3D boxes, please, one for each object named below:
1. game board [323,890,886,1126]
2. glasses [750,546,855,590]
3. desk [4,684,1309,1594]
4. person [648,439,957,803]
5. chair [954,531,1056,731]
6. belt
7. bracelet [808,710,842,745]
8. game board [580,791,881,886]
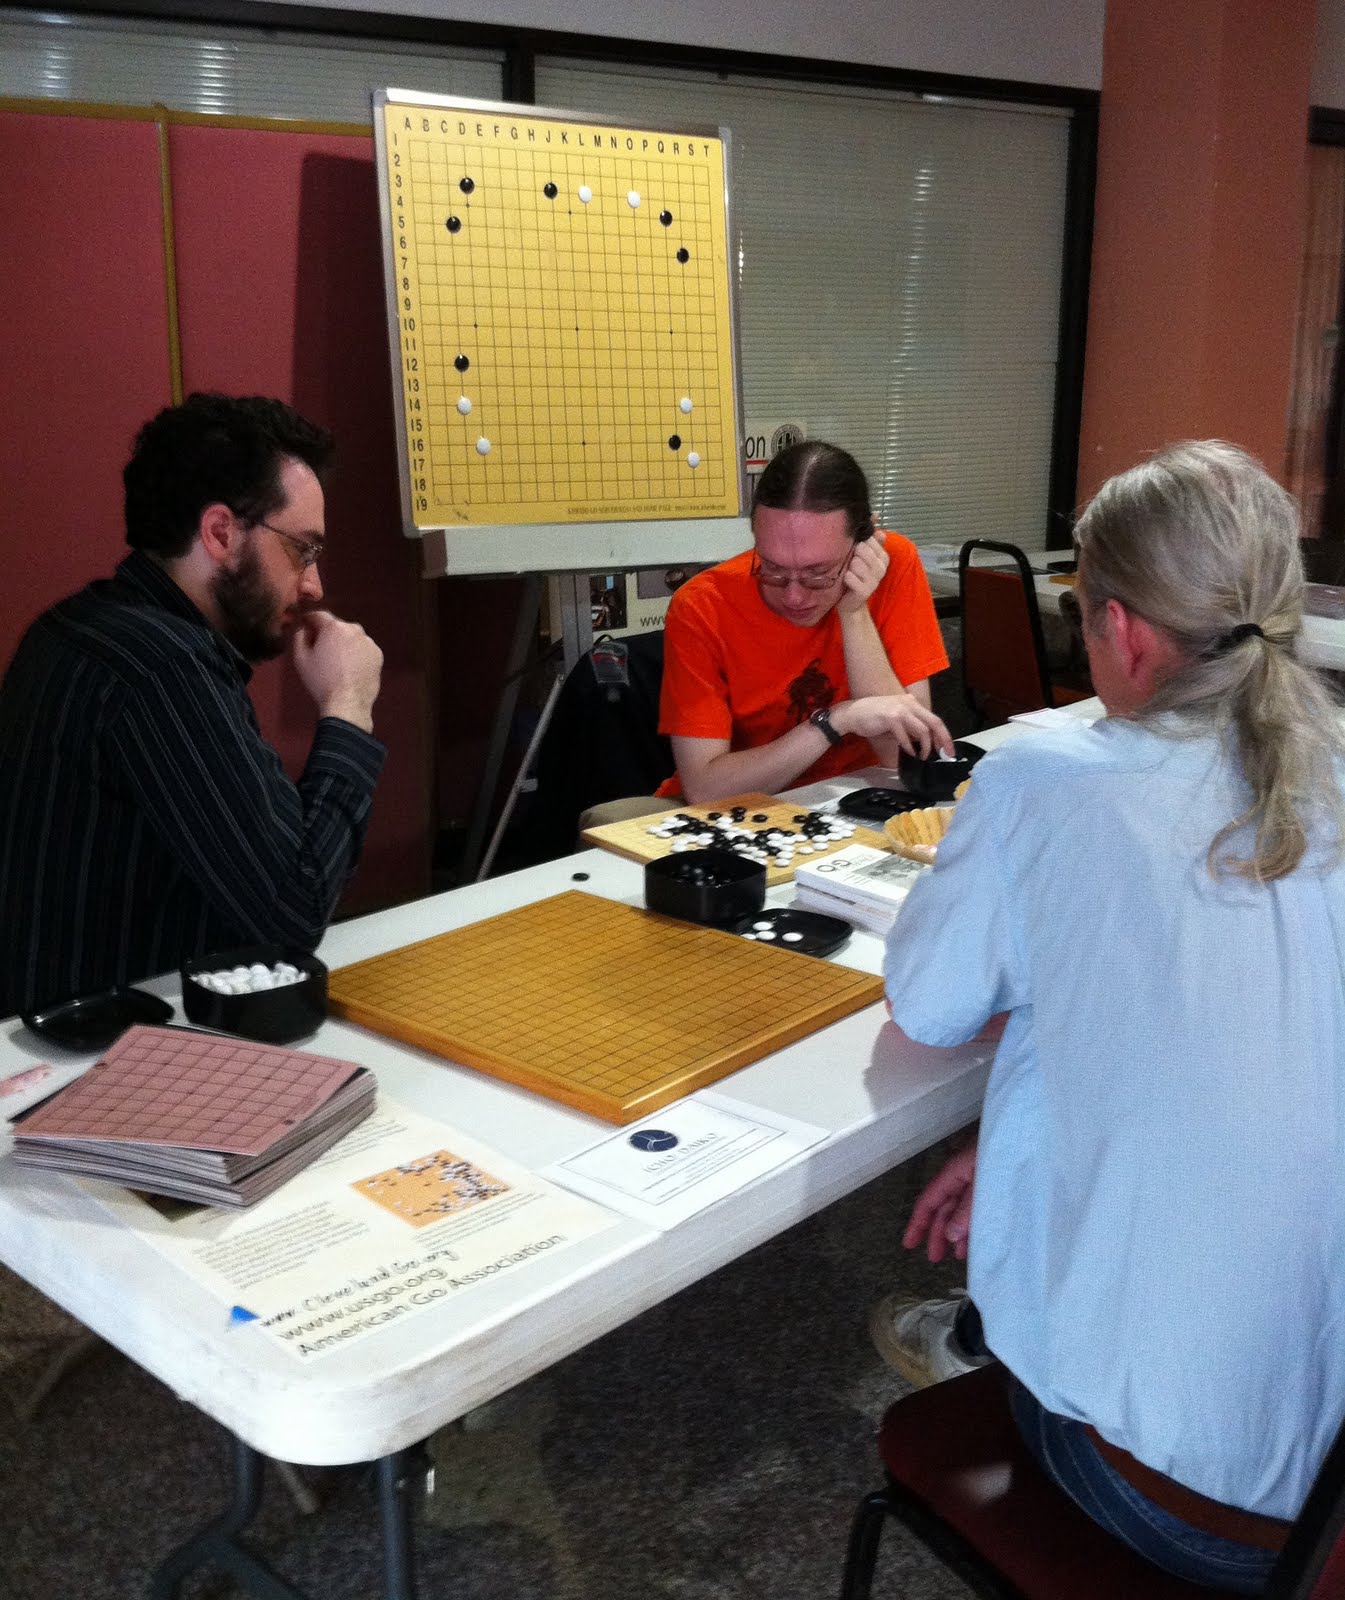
[{"bbox_3d":[-0.080,0.194,1.367,0.493,0.018,0.462,13,17,42],"label":"game board"},{"bbox_3d":[0.233,-0.415,2.282,0.158,0.071,0.074,1,13,-1],"label":"glasses"},{"bbox_3d":[-0.107,0.205,0.842,0.384,0.452,0.697,10,19,32],"label":"desk"},{"bbox_3d":[0.270,-0.290,2.397,0.543,0.749,0.458,-4,21,-20],"label":"person"},{"bbox_3d":[1.039,-0.510,3.934,0.329,0.619,0.320,0,19,-8],"label":"chair"},{"bbox_3d":[0.378,0.496,0.890,0.124,0.026,0.115,10,9,11],"label":"belt"},{"bbox_3d":[0.281,-0.127,2.263,0.020,0.054,0.053,-33,41,-3],"label":"bracelet"},{"bbox_3d":[0.069,0.050,1.871,0.186,0.008,0.199,-7,15,-37],"label":"game board"}]
